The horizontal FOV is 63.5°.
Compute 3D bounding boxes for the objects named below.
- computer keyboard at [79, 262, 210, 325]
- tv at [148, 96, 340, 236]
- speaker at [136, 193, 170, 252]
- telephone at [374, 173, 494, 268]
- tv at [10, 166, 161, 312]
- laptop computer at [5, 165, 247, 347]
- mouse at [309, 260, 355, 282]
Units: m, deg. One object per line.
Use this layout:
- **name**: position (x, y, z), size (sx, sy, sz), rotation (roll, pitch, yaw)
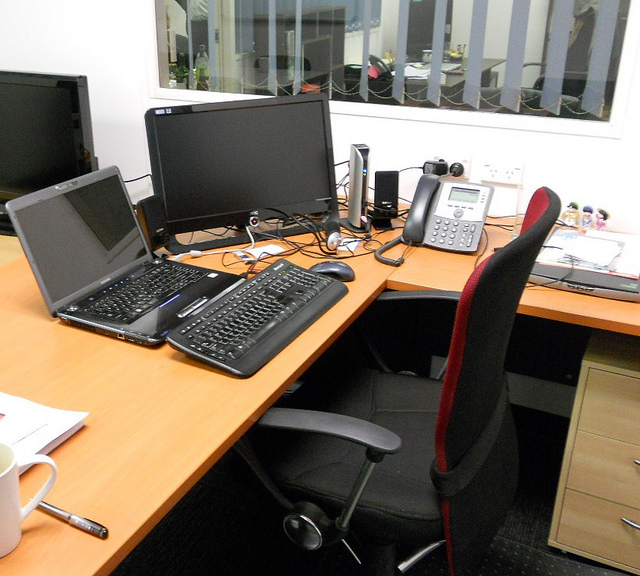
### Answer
- **computer keyboard**: position (-0.408, 0.015, 1.276), size (0.207, 0.045, 0.367), rotation (16, 27, 14)
- **tv**: position (-0.225, -0.407, 1.646), size (0.607, 0.368, 0.061), rotation (-16, 28, -30)
- **speaker**: position (-0.436, -0.180, 1.481), size (0.044, 0.147, 0.121), rotation (6, 28, 25)
- **telephone**: position (0.369, -0.193, 1.647), size (0.303, 0.128, 0.356), rotation (18, 57, 26)
- **tv**: position (-0.565, -0.110, 1.280), size (0.021, 0.305, 0.451), rotation (-22, 9, 30)
- **laptop computer**: position (-0.522, -0.053, 1.293), size (0.531, 0.320, 0.495), rotation (17, 30, 16)
- **mouse**: position (0.040, -0.054, 1.412), size (0.093, 0.027, 0.061), rotation (10, 17, 3)
